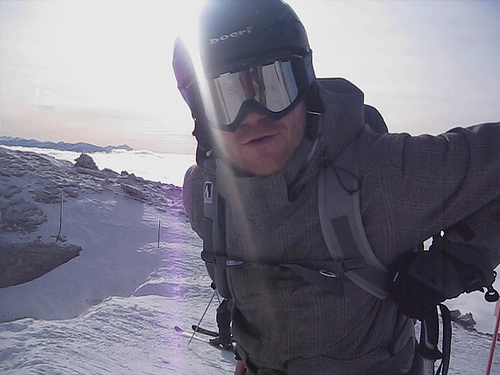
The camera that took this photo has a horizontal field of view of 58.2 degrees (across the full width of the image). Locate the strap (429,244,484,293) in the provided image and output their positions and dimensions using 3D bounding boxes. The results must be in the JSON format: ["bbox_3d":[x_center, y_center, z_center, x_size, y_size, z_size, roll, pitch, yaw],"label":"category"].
[{"bbox_3d":[1.748,0.708,3.783,0.408,0.169,0.326,26,-13,26],"label":"strap"}]
